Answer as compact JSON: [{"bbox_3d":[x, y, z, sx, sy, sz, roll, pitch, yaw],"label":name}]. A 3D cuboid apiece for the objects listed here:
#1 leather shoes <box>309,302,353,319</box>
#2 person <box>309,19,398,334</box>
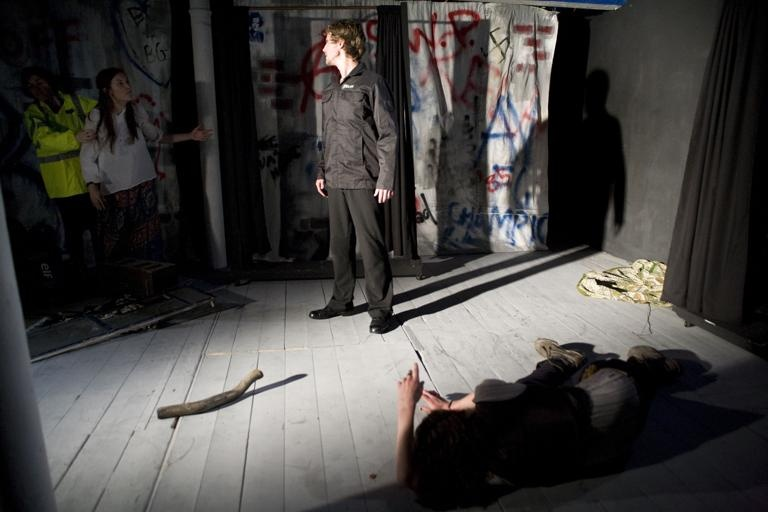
[{"bbox_3d":[-0.441,0.467,3.971,0.368,0.170,0.137,0,4,-12],"label":"leather shoes"},{"bbox_3d":[-0.224,-0.563,3.622,0.635,2.259,0.483,3,19,25],"label":"person"}]
